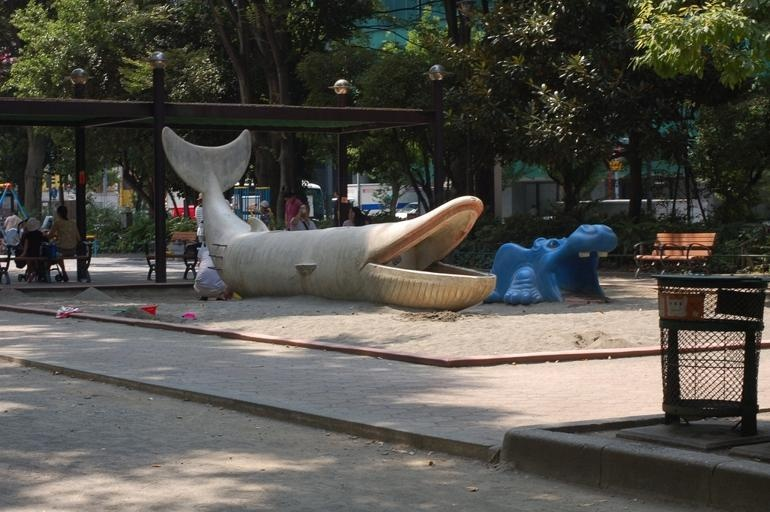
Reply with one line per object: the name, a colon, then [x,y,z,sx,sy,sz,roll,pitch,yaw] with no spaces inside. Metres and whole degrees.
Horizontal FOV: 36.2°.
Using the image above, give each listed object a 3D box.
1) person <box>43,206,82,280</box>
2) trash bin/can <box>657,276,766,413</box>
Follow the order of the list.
person: [-8.059,-0.333,29.561,0.777,1.873,1.533,1,1,-14]
trash bin/can: [3.811,1.046,13.873,1.206,1.674,1.170,2,1,13]
